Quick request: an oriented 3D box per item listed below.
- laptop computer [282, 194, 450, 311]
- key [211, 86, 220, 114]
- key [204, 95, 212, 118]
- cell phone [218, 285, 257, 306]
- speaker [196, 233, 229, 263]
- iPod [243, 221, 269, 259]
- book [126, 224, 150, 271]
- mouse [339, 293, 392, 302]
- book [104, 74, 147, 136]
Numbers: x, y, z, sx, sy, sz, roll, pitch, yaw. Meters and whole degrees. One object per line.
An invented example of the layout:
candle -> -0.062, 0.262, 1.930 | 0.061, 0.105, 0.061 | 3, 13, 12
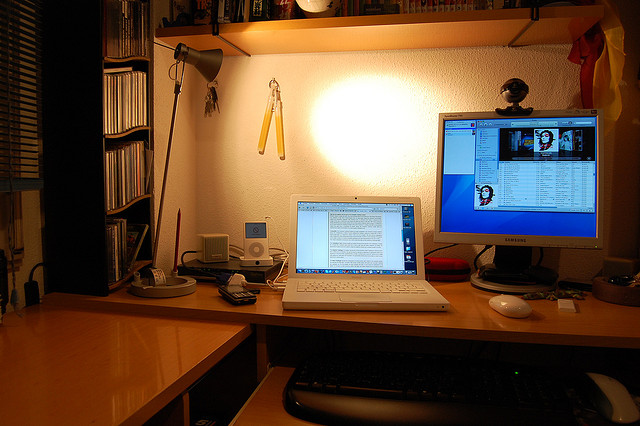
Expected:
laptop computer -> 0.138, 0.121, 1.882 | 0.570, 0.326, 0.443 | 1, 4, -1
key -> -0.495, -0.557, 2.274 | 0.019, 0.089, 0.017 | -6, 15, 11
key -> -0.535, -0.509, 2.285 | 0.026, 0.104, 0.033 | 7, 2, 24
cell phone -> -0.301, 0.296, 1.777 | 0.114, 0.051, 0.141 | -3, 7, -28
speaker -> -0.487, 0.155, 2.125 | 0.169, 0.105, 0.166 | -1, -1, -1
iPod -> -0.279, 0.113, 2.082 | 0.106, 0.154, 0.087 | -1, 7, -11
book -> -0.749, 0.134, 1.983 | 0.087, 0.171, 0.140 | -2, 7, -19
mouse -> 0.159, 0.299, 1.715 | 0.180, 0.011, 0.068 | 0, 6, 0
book -> -0.765, -0.431, 1.877 | 0.027, 0.182, 0.271 | 4, 14, 18
